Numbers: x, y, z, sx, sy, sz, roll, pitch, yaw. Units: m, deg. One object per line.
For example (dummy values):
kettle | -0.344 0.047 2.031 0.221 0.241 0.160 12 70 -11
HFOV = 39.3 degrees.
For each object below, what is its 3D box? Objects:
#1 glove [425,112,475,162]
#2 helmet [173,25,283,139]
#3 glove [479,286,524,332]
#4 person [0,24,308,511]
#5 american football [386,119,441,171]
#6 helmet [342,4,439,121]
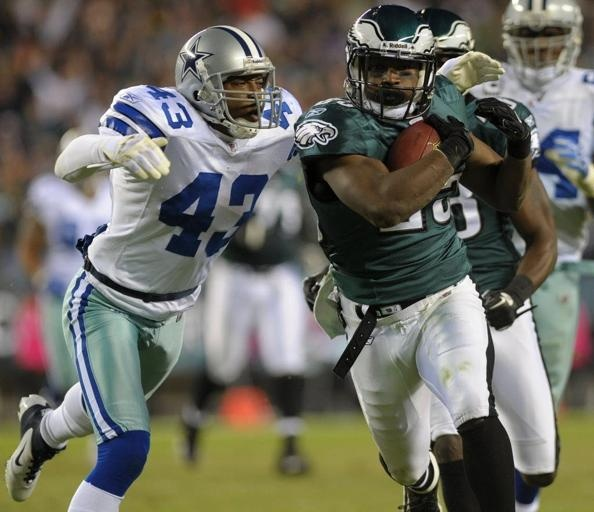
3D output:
glove | 0.519 -0.393 2.735 0.073 0.162 0.158 -38 45 -2
helmet | -0.273 -0.685 3.186 0.458 0.405 0.319 23 29 33
glove | 0.735 0.158 2.922 0.111 0.068 0.156 4 -24 -37
person | -0.623 0.004 3.130 1.084 1.753 0.806 -2 -3 25
american football | 0.380 -0.359 2.765 0.175 0.106 0.129 -44 -3 12
helmet | 0.285 -0.651 2.842 0.293 0.337 0.403 1 16 -1
